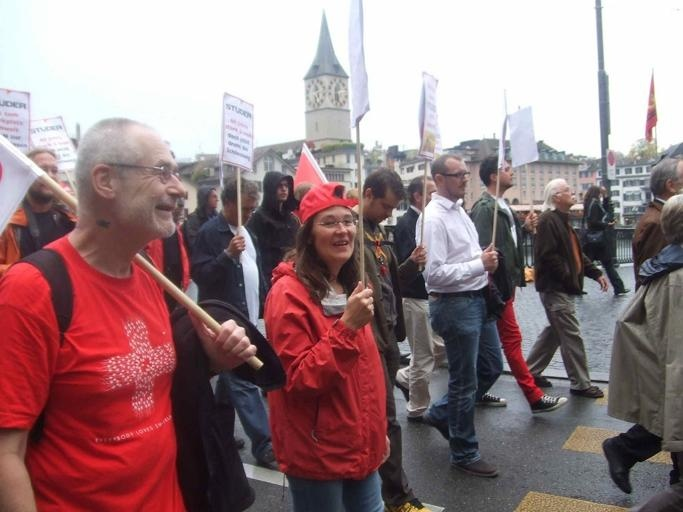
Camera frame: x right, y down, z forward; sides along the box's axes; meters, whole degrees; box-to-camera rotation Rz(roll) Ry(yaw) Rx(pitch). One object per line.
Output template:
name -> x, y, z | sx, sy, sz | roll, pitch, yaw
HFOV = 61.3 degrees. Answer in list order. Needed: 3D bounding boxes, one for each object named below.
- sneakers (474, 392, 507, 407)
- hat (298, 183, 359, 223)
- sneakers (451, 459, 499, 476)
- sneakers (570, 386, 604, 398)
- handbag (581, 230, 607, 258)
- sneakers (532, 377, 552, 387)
sneakers -> 1.660, 1.608, 6.497 | 0.360, 0.158, 0.140 | -3, 7, 11
hat -> -0.093, -0.313, 3.231 | 0.315, 0.176, 0.225 | -16, -5, 14
sneakers -> 1.130, 1.775, 4.854 | 0.301, 0.134, 0.127 | -3, -4, 28
sneakers -> 2.801, 1.560, 6.603 | 0.220, 0.098, 0.152 | -6, 1, 9
handbag -> 6.422, -0.333, 14.835 | 0.605, 0.843, 0.840 | -2, 2, 11
sneakers -> 2.403, 1.509, 6.987 | 0.269, 0.124, 0.093 | -3, 7, -5
